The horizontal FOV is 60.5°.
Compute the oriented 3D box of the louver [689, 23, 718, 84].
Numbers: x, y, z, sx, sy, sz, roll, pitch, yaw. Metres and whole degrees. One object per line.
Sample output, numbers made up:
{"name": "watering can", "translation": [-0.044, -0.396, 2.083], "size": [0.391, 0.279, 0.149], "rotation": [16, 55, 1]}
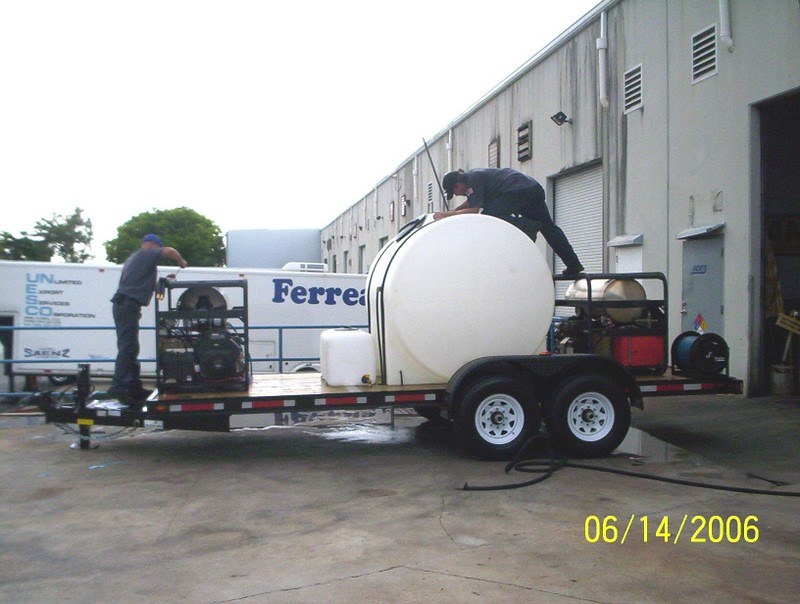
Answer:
{"name": "louver", "translation": [5.658, -4.597, 12.778], "size": [0.072, 0.921, 0.681], "rotation": [-2, 7, -15]}

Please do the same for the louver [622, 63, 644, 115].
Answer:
{"name": "louver", "translation": [4.981, -4.504, 14.591], "size": [0.119, 1.151, 0.942], "rotation": [-3, 7, -4]}

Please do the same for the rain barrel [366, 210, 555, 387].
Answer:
{"name": "rain barrel", "translation": [0.502, 0.037, 9.206], "size": [1.891, 1.869, 2.168], "rotation": [7, -3, -20]}

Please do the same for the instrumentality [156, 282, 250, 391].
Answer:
{"name": "instrumentality", "translation": [-2.341, 0.396, 8.145], "size": [1.051, 1.324, 0.752], "rotation": [-2, 7, -13]}

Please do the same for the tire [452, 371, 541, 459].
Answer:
{"name": "tire", "translation": [1.129, 1.324, 8.096], "size": [0.909, 1.005, 0.338], "rotation": [4, -4, -9]}

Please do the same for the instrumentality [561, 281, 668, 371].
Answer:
{"name": "instrumentality", "translation": [2.973, 0.520, 9.666], "size": [1.078, 1.493, 1.568], "rotation": [1, -11, -6]}

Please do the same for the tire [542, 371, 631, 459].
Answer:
{"name": "tire", "translation": [2.220, 1.361, 8.287], "size": [0.906, 1.003, 0.334], "rotation": [3, -4, -10]}

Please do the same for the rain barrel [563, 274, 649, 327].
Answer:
{"name": "rain barrel", "translation": [2.802, -0.072, 9.079], "size": [0.797, 0.525, 0.602], "rotation": [4, -9, -5]}

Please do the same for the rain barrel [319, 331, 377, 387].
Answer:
{"name": "rain barrel", "translation": [-0.622, 0.767, 8.819], "size": [0.651, 0.732, 1.048], "rotation": [-2, -5, -3]}

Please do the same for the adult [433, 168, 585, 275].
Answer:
{"name": "adult", "translation": [1.459, -1.119, 9.606], "size": [1.990, 1.511, 0.719], "rotation": [-1, 3, 12]}

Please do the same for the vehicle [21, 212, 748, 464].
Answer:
{"name": "vehicle", "translation": [0.525, 0.407, 8.471], "size": [7.338, 2.922, 1.580], "rotation": [0, 7, -2]}
